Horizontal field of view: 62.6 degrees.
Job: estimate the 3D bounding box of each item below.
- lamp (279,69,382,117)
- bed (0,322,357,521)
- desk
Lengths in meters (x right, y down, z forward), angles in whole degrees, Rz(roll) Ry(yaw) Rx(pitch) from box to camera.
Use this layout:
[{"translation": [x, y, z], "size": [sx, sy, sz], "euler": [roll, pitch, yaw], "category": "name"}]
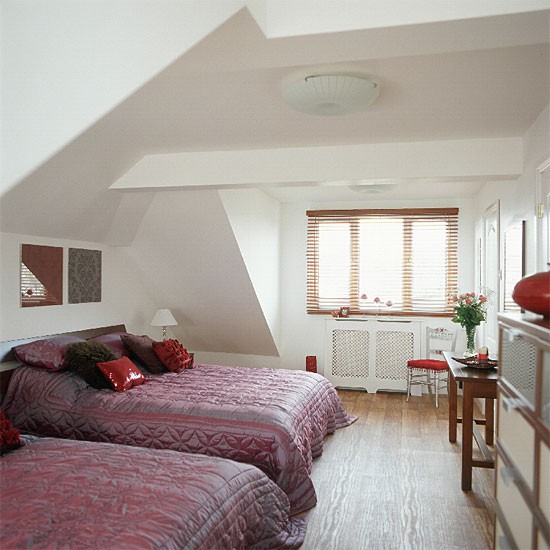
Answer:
[{"translation": [0.266, -0.889, 2.180], "size": [0.465, 0.106, 0.402], "euler": [0, 0, 8], "category": "lamp"}, {"translation": [-0.721, 0.970, 3.274], "size": [1.614, 0.454, 1.314], "euler": [1, 1, 18], "category": "bed"}, {"translation": [1.458, 1.106, 3.393], "size": [0.433, 0.710, 1.200], "euler": [0, -2, 16], "category": "desk"}]
